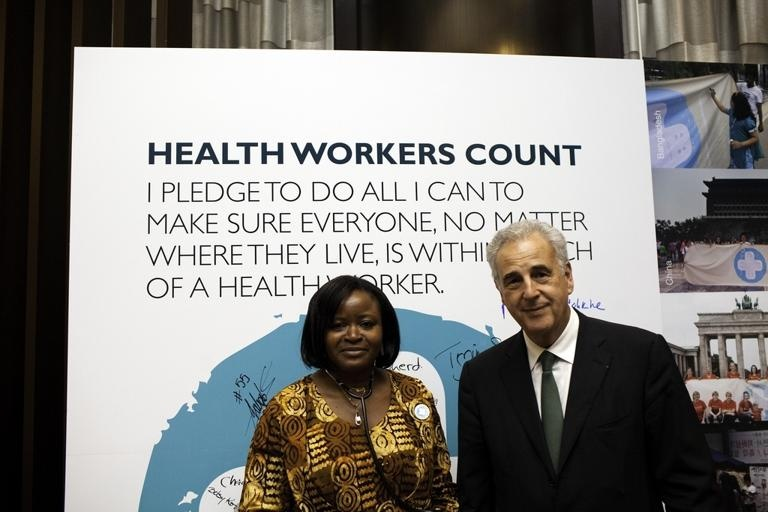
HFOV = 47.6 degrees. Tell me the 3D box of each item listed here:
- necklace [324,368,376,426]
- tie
[{"bbox_3d":[-0.143,0.756,4.533,0.157,0.292,0.033,-2,-33,-27],"label":"necklace"},{"bbox_3d":[0.850,0.801,4.467,0.089,0.621,0.089,-10,-26,11],"label":"tie"}]
